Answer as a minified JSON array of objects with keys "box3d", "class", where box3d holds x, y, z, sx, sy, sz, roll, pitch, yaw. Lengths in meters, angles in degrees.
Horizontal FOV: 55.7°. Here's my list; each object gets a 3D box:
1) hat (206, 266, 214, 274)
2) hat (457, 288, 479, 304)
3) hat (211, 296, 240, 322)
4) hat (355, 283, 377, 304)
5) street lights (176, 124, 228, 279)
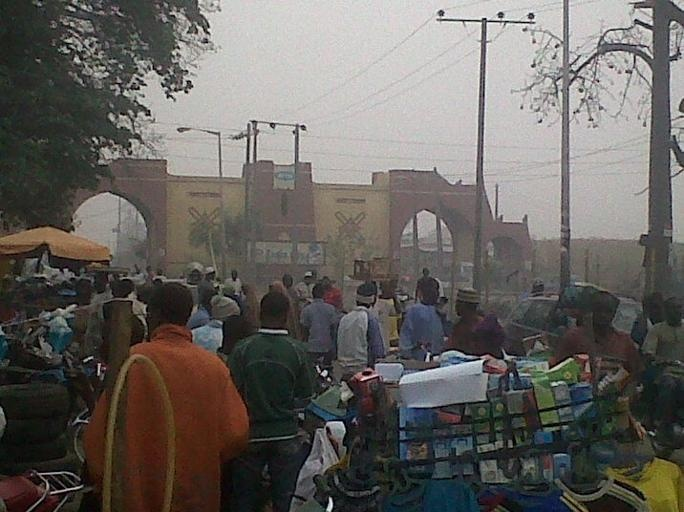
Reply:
[{"box3d":[-2.044,0.216,9.980,0.100,0.060,0.136,-1,-4,-31],"class":"hat"},{"box3d":[1.466,0.462,7.509,0.197,0.119,0.169,4,-1,15],"class":"hat"},{"box3d":[-1.299,0.560,7.134,0.299,0.305,0.233,-6,3,-19],"class":"hat"},{"box3d":[0.317,0.471,8.194,0.190,0.238,0.270,1,-6,0],"class":"hat"},{"box3d":[-2.162,-0.775,10.404,0.662,2.573,0.172,-5,16,-10],"class":"street lights"}]
